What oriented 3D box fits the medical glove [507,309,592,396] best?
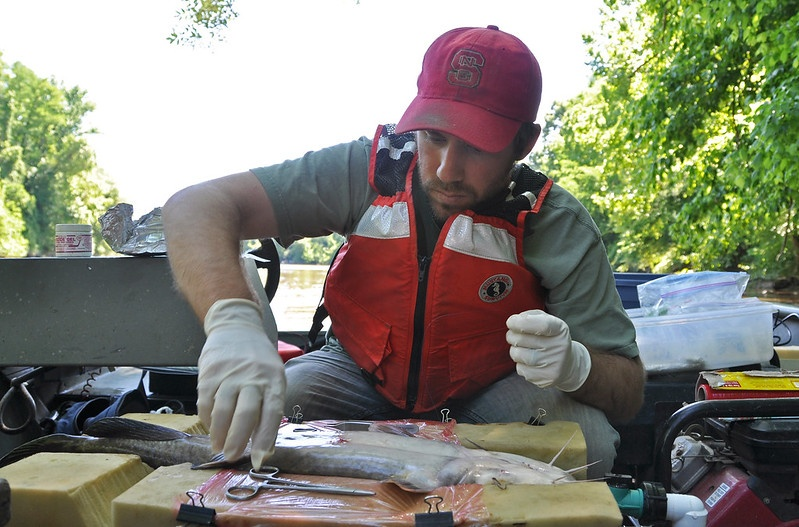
[{"bbox_3d":[0.886,0.509,5.061,0.503,0.409,0.470,25,-7,-32],"label":"medical glove"}]

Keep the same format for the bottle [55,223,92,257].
[{"bbox_3d":[-2.111,-0.145,5.415,0.204,0.200,0.219,1,-1,3],"label":"bottle"}]
